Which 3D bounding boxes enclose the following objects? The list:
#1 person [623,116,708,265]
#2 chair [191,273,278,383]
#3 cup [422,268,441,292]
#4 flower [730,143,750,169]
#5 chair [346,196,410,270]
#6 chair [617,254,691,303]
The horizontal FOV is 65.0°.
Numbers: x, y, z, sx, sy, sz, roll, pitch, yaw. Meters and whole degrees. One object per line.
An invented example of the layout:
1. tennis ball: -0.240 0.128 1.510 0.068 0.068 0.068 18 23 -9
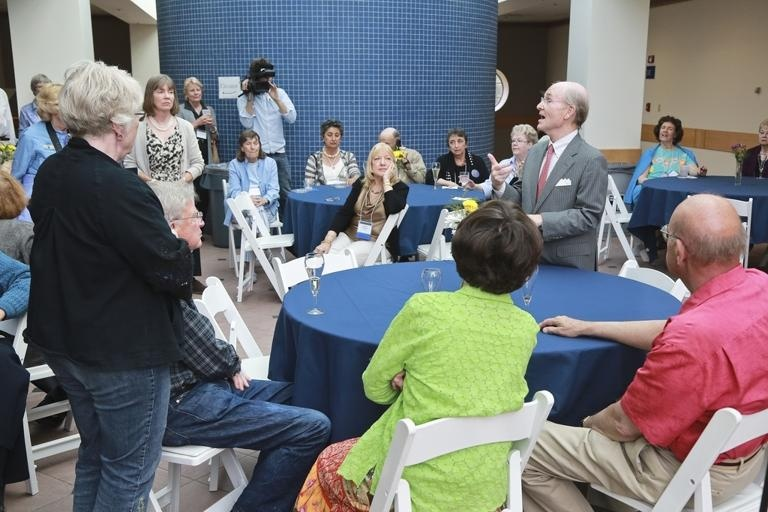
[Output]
1. person: 3.545 -0.851 7.474 0.947 1.778 0.972 1 5 -1
2. chair: -0.903 0.443 3.737 0.581 0.786 0.390 5 18 13
3. cup: 0.243 0.112 3.059 0.102 0.159 0.099 -1 10 0
4. flower: 3.941 -1.118 6.663 0.104 0.222 0.273 6 16 26
5. chair: -0.096 -0.185 5.449 0.531 0.798 0.432 1 9 -9
6. chair: 1.561 0.131 3.490 0.299 0.425 0.288 -7 12 -42
